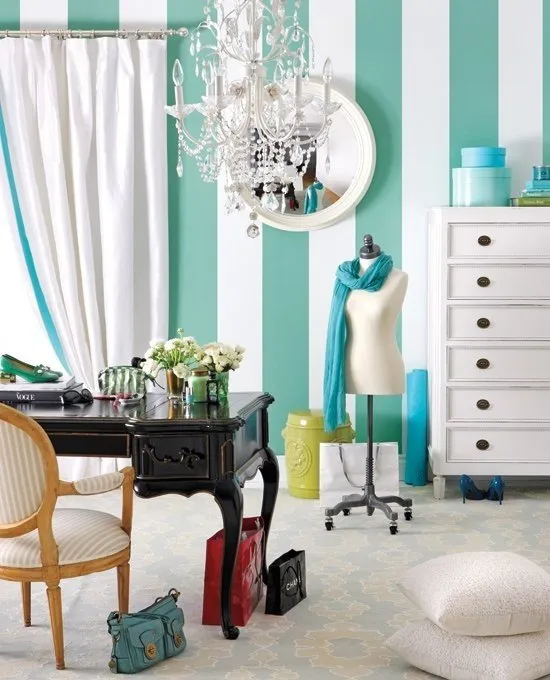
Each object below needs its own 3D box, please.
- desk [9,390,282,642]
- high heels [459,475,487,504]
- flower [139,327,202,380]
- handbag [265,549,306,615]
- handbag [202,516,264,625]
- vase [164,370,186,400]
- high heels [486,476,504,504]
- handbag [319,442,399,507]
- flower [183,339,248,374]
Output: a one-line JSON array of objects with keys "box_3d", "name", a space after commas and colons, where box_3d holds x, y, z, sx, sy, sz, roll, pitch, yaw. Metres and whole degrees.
[{"box_3d": [-0.405, 0.438, 2.534, 0.897, 0.670, 0.711, 0, 2, 12], "name": "desk"}, {"box_3d": [1.051, 0.796, 3.856, 0.076, 0.125, 0.229, 0, -2, 26], "name": "high heels"}, {"box_3d": [-0.370, 0.058, 2.676, 0.184, 0.140, 0.199, -15, -25, 41], "name": "flower"}, {"box_3d": [0.028, 0.846, 2.497, 0.063, 0.153, 0.179, 5, 6, 23], "name": "handbag"}, {"box_3d": [-0.144, 0.767, 2.367, 0.140, 0.366, 0.388, 3, 2, 17], "name": "handbag"}, {"box_3d": [-0.386, 0.164, 2.680, 0.096, 0.141, 0.090, 0, 1, -5], "name": "vase"}, {"box_3d": [1.183, 0.791, 3.882, 0.081, 0.135, 0.205, 0, 2, 17], "name": "high heels"}, {"box_3d": [0.414, 0.665, 3.698, 0.458, 0.342, 0.308, 0, -3, -2], "name": "handbag"}, {"box_3d": [-0.239, 0.066, 2.646, 0.219, 0.107, 0.195, -1, 2, -4], "name": "flower"}]
